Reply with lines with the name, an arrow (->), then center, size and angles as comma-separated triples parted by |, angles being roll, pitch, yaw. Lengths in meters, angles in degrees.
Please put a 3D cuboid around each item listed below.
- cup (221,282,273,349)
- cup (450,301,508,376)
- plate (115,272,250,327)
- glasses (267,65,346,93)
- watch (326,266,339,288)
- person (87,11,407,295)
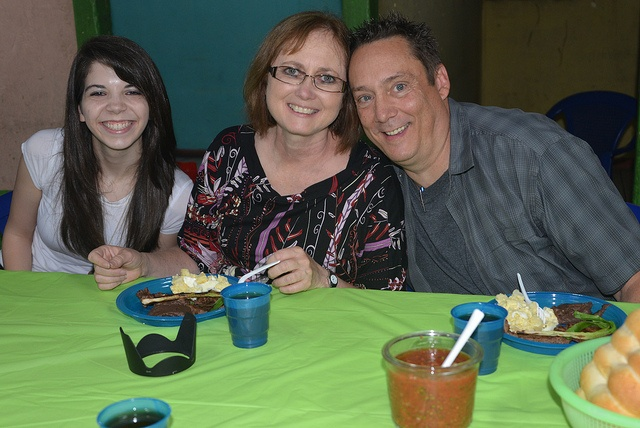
cup -> -0.274, 0.362, 1.825 | 0.192, 0.213, 0.197 | 4, -24, 2
cup -> 0.502, 0.408, 1.654 | 0.153, 0.174, 0.163 | 0, -1, 0
plate -> -0.580, 0.364, 2.041 | 0.436, 0.067, 0.467 | 3, 5, -17
glasses -> -0.053, -0.637, 2.513 | 0.362, 0.119, 0.094 | 0, 15, -3
watch -> 0.052, 0.282, 2.230 | 0.043, 0.069, 0.063 | -6, -14, -6
person -> -0.270, -0.249, 2.595 | 1.535, 1.390, 0.951 | 6, 13, 2
